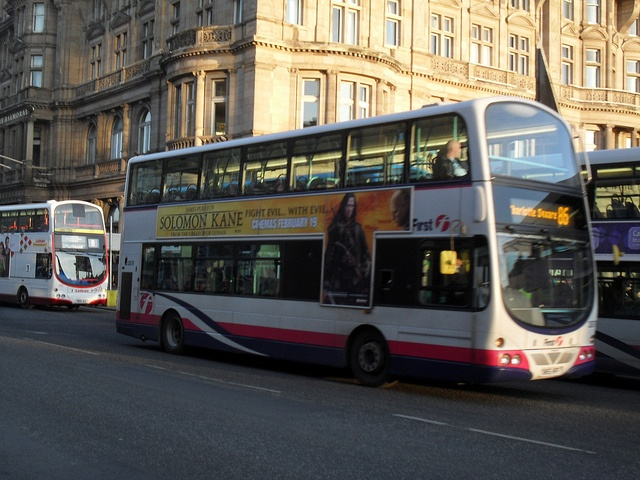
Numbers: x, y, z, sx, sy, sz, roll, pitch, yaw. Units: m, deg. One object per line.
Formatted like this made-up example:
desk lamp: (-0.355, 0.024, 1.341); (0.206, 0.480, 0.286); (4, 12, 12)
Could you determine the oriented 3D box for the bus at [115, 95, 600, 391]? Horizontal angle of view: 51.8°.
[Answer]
bus: (-0.238, 0.258, 15.281); (3.571, 5.175, 12.236); (4, -4, -43)
